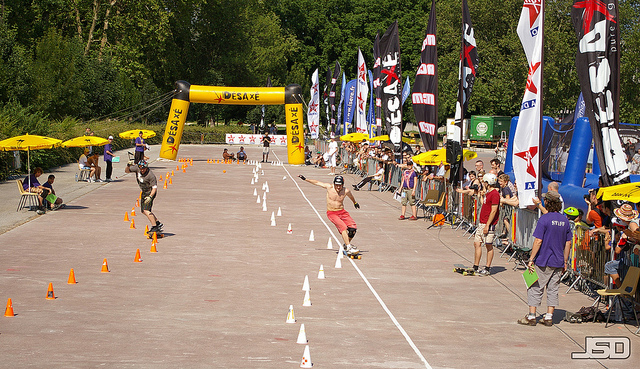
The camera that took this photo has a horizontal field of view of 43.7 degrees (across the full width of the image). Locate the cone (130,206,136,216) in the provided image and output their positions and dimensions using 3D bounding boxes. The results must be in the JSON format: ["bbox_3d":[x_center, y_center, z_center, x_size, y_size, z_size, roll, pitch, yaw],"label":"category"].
[{"bbox_3d":[-8.730,1.254,36.586,0.309,0.306,0.271,2,2,-2],"label":"cone"}]

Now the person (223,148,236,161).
[{"bbox_3d":[-7.735,-2.480,65.601,1.255,1.269,0.543,-6,22,-5],"label":"person"}]

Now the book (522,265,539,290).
[{"bbox_3d":[6.687,2.975,25.405,0.495,0.724,0.354,6,14,15],"label":"book"}]

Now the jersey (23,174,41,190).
[{"bbox_3d":[-13.653,-0.097,37.340,0.627,0.561,0.369,16,-6,-36],"label":"jersey"}]

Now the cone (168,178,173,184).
[{"bbox_3d":[-9.107,-0.184,47.835,0.286,0.302,0.316,10,13,39],"label":"cone"}]

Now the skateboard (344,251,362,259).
[{"bbox_3d":[1.191,2.681,30.696,0.648,0.270,0.220,12,5,30],"label":"skateboard"}]

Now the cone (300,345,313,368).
[{"bbox_3d":[-0.441,4.942,23.003,0.363,0.575,0.399,2,14,-2],"label":"cone"}]

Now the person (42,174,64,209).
[{"bbox_3d":[-12.909,0.275,37.645,1.020,1.523,1.124,7,-8,8],"label":"person"}]

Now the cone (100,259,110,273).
[{"bbox_3d":[-7.708,2.877,28.263,0.386,0.497,0.403,0,8,-8],"label":"cone"}]

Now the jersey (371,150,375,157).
[{"bbox_3d":[3.234,-1.908,50.457,0.109,0.237,0.246,-1,-6,42],"label":"jersey"}]

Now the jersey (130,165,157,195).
[{"bbox_3d":[-7.426,-0.223,33.221,0.522,1.188,1.197,-11,19,-44],"label":"jersey"}]

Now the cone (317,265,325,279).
[{"bbox_3d":[-0.019,3.107,28.232,0.356,0.460,0.344,-4,5,-24],"label":"cone"}]

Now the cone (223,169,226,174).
[{"bbox_3d":[-6.918,-0.948,56.322,0.157,0.142,0.159,10,11,36],"label":"cone"}]

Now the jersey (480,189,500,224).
[{"bbox_3d":[6.285,0.753,29.534,0.760,1.320,1.202,2,3,-4],"label":"jersey"}]

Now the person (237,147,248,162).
[{"bbox_3d":[-6.690,-2.506,66.547,1.059,1.330,0.987,2,36,0],"label":"person"}]

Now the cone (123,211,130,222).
[{"bbox_3d":[-8.779,1.434,35.602,0.308,0.405,0.326,9,13,40],"label":"cone"}]

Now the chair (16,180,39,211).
[{"bbox_3d":[-13.805,0.457,37.114,0.959,1.255,1.413,-3,15,-21],"label":"chair"}]

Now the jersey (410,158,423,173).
[{"bbox_3d":[4.847,-0.945,40.622,0.647,0.696,0.557,-17,-2,16],"label":"jersey"}]

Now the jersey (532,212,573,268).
[{"bbox_3d":[7.387,1.753,25.580,1.060,1.681,0.737,6,14,15],"label":"jersey"}]

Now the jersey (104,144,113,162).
[{"bbox_3d":[-12.864,-1.935,47.895,0.408,1.165,1.099,-1,14,-13],"label":"jersey"}]

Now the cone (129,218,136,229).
[{"bbox_3d":[-8.175,1.718,34.221,0.276,0.377,0.310,3,3,29],"label":"cone"}]

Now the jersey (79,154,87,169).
[{"bbox_3d":[-14.123,-1.391,46.888,0.418,0.634,0.738,3,14,4],"label":"jersey"}]

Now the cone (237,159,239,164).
[{"bbox_3d":[-6.909,-1.876,65.363,0.176,0.143,0.291,-2,17,-5],"label":"cone"}]

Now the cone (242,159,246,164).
[{"bbox_3d":[-6.436,-1.896,65.783,0.238,0.463,0.215,-17,29,-36],"label":"cone"}]

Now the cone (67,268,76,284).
[{"bbox_3d":[-8.605,3.090,27.280,0.270,0.466,0.516,-2,14,-18],"label":"cone"}]

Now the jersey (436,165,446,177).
[{"bbox_3d":[5.973,-0.660,39.745,0.414,0.578,0.891,3,14,3],"label":"jersey"}]

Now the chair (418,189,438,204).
[{"bbox_3d":[5.225,0.556,37.928,0.594,0.670,0.408,14,18,39],"label":"chair"}]

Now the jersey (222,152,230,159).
[{"bbox_3d":[-7.837,-2.368,65.297,0.515,0.563,0.818,0,14,-10],"label":"jersey"}]

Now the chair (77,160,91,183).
[{"bbox_3d":[-14.410,-0.606,47.481,0.811,1.051,0.784,-1,9,0],"label":"chair"}]

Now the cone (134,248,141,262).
[{"bbox_3d":[-6.832,2.635,29.451,0.366,0.470,0.338,2,-1,-10],"label":"cone"}]

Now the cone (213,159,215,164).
[{"bbox_3d":[-8.911,-1.931,65.485,0.221,0.386,0.409,1,1,-1],"label":"cone"}]

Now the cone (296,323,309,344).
[{"bbox_3d":[-0.591,4.449,24.005,0.342,0.564,0.632,2,14,-1],"label":"cone"}]

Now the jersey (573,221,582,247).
[{"bbox_3d":[9.171,1.779,28.507,0.309,0.772,0.911,7,14,18],"label":"jersey"}]

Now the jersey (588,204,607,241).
[{"bbox_3d":[9.660,1.243,27.841,0.535,1.151,1.267,5,14,12],"label":"jersey"}]

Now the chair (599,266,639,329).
[{"bbox_3d":[9.617,3.554,25.462,1.206,1.995,0.901,5,14,12],"label":"chair"}]

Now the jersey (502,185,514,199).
[{"bbox_3d":[7.628,0.298,32.607,0.406,0.527,0.693,-5,3,18],"label":"jersey"}]
